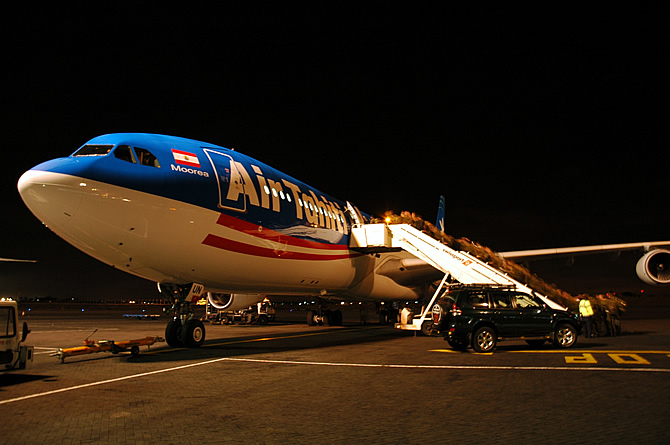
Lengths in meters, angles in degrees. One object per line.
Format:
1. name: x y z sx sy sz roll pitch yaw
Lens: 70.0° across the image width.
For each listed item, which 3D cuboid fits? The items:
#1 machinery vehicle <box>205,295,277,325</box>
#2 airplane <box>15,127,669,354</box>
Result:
1. machinery vehicle: -6.787 6.246 34.272 4.911 1.378 2.216 -1 6 -7
2. airplane: -1.277 1.444 20.380 21.660 7.029 6.965 8 -16 -38
